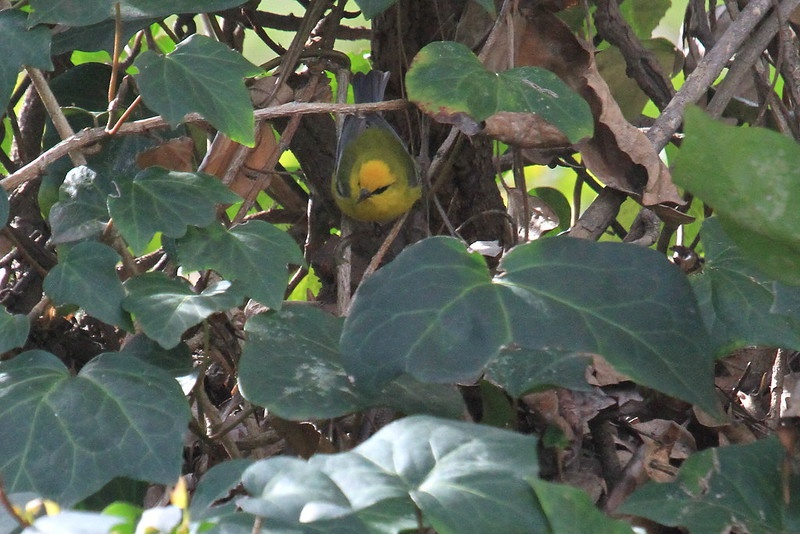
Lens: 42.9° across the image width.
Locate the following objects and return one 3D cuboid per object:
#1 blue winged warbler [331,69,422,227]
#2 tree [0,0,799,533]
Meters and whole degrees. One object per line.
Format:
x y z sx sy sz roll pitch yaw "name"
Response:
-0.085 -0.444 3.792 0.288 0.535 0.376 1 40 -3 "blue winged warbler"
0.031 0.021 2.133 1.618 1.058 0.807 9 2 0 "tree"
